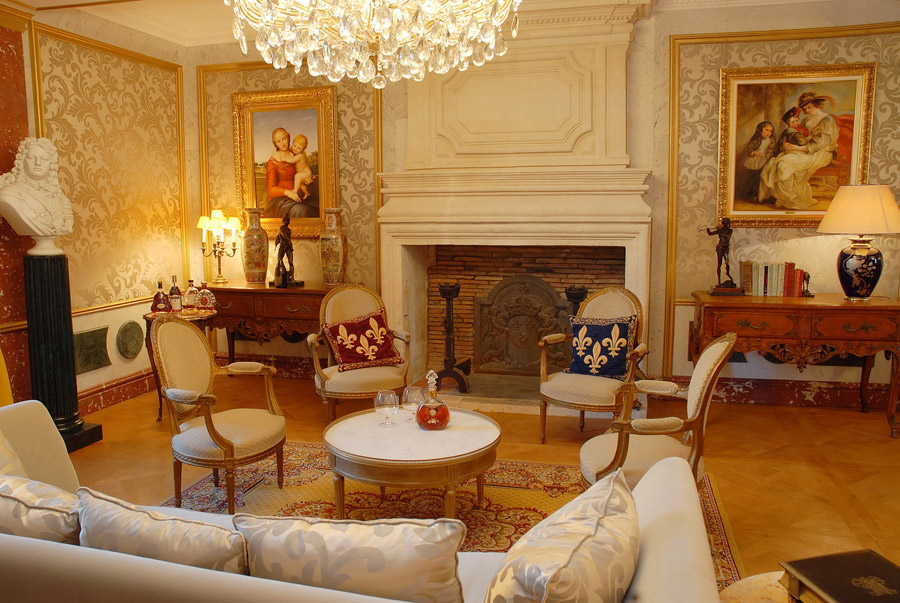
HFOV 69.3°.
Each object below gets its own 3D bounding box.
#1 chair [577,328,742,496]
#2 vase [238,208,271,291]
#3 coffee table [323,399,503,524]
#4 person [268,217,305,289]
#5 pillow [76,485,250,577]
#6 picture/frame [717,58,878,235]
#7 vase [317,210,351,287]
[{"bbox_3d":[1.315,0.587,4.306,0.932,1.293,0.877,1,5,10],"label":"chair"},{"bbox_3d":[-1.969,-0.543,6.564,0.250,0.772,0.226,3,8,6],"label":"vase"},{"bbox_3d":[-0.183,0.842,4.062,0.765,0.438,0.772,4,14,17],"label":"coffee table"},{"bbox_3d":[-1.654,-0.518,6.581,0.320,0.722,0.512,0,8,-15],"label":"person"},{"bbox_3d":[-1.124,0.902,2.514,0.386,0.120,0.349,11,-3,-11],"label":"pillow"},{"bbox_3d":[3.084,-1.404,5.679,1.541,1.839,0.100,0,5,9],"label":"picture/frame"},{"bbox_3d":[-1.146,-0.531,6.407,0.270,0.754,0.416,0,8,-11],"label":"vase"}]
